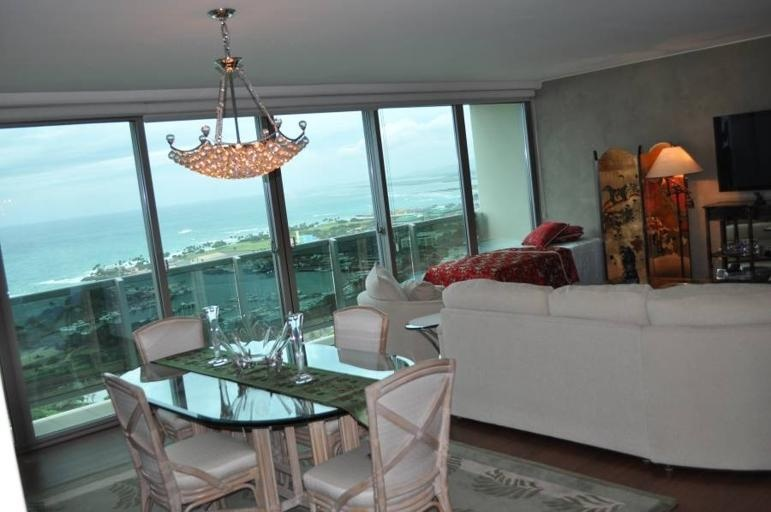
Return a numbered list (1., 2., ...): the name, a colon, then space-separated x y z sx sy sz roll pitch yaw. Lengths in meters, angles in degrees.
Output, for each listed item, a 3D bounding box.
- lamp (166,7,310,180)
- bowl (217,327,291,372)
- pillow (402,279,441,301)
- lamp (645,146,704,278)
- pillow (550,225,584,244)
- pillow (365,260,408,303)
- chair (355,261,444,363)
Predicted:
1. lamp: -1.393 -1.218 4.084 0.933 1.140 2.008 -13 12 -21
2. bowl: -0.974 0.659 3.593 0.521 0.198 0.506 -8 -4 -1
3. pillow: 0.352 0.367 5.223 0.273 0.095 0.260 -6 16 -23
4. lamp: 4.294 -0.649 7.254 0.682 2.011 0.714 -4 13 24
5. pillow: 2.949 -0.347 7.905 0.406 0.151 0.399 -15 13 32
6. pillow: 0.002 0.185 5.214 0.336 0.229 0.612 -1 9 -4
7. chair: 0.217 0.579 5.403 1.045 0.873 0.862 -7 12 -15
